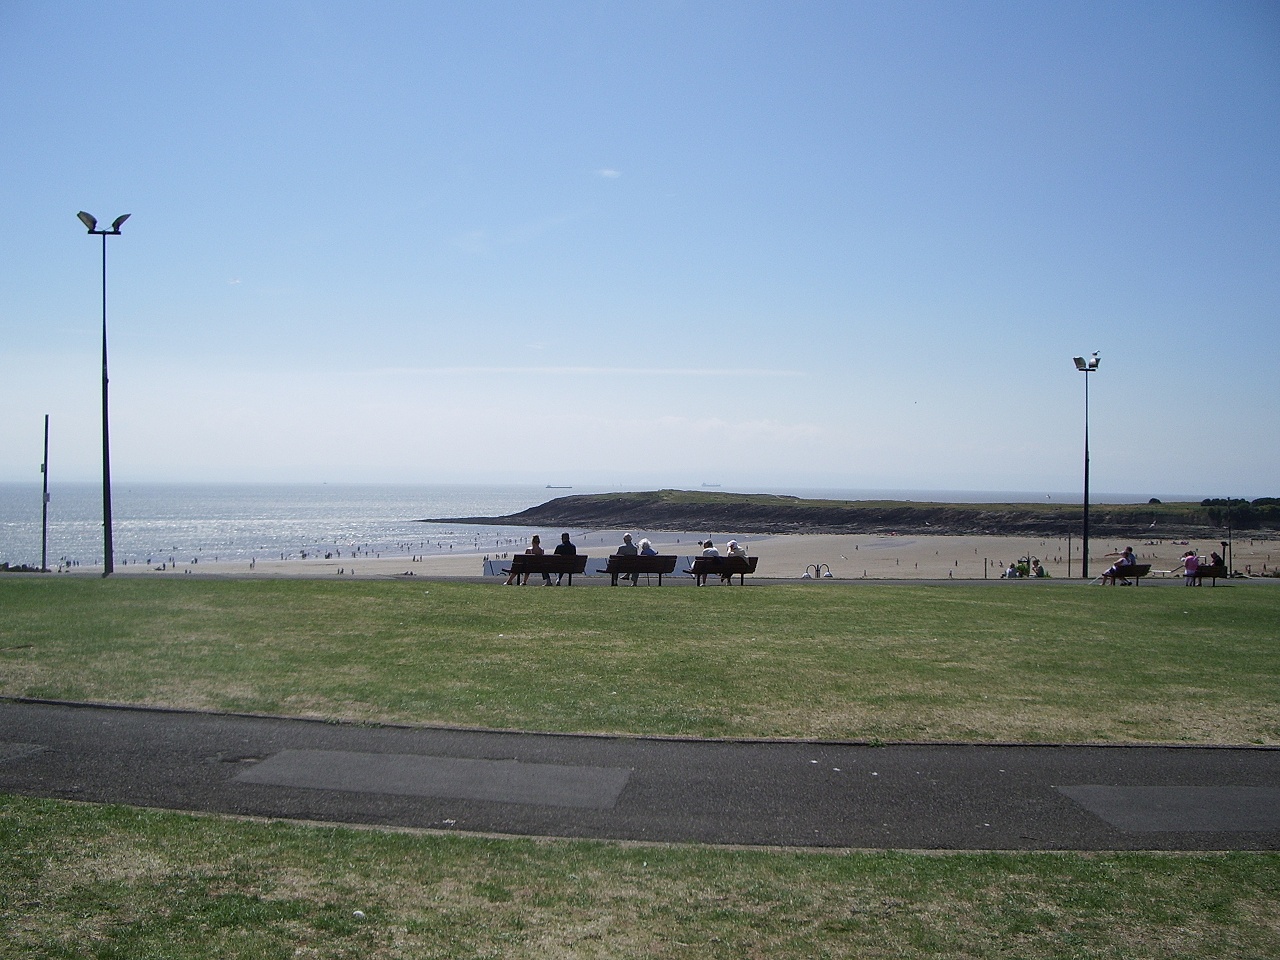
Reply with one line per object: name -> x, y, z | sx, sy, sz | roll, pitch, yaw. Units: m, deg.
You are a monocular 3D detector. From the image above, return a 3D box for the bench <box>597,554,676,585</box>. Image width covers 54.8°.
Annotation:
bench -> 0.047, 2.301, 32.018 | 1.581, 0.725, 2.308 | -1, -3, 16
